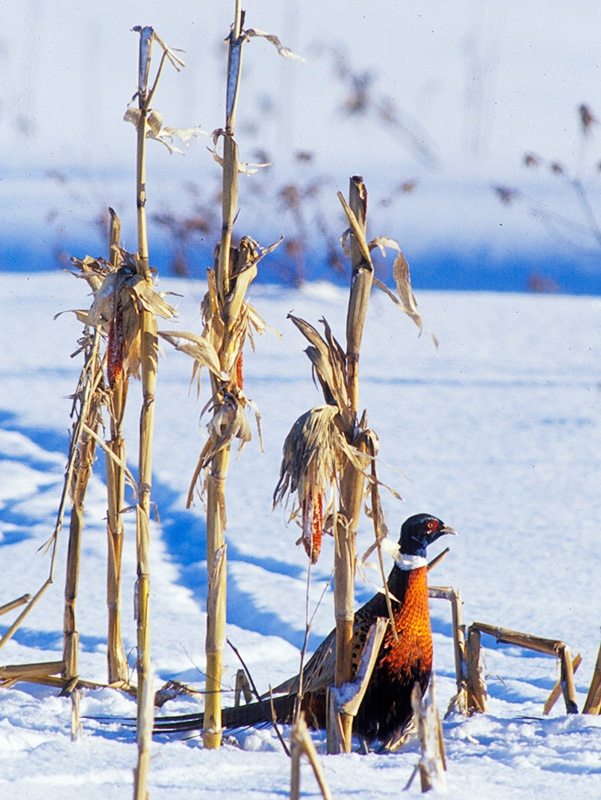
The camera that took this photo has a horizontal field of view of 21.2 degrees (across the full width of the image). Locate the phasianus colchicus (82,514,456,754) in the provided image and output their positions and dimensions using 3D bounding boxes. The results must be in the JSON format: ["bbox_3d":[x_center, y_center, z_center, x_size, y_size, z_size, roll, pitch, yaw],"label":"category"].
[{"bbox_3d":[0.102,0.835,5.820,0.820,0.869,0.577,5,5,15],"label":"phasianus colchicus"}]
